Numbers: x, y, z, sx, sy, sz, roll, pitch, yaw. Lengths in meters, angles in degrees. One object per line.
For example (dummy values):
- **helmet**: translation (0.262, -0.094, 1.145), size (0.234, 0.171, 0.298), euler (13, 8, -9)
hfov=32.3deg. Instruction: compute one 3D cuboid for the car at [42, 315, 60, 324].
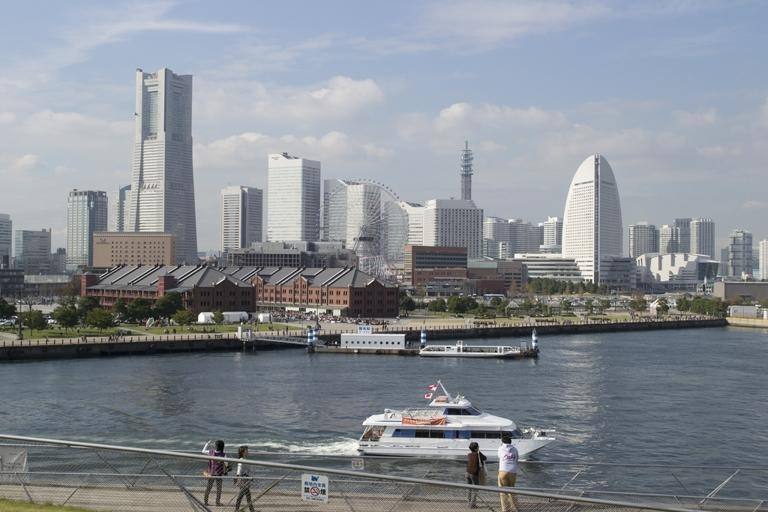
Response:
- **car**: translation (-54.196, 10.260, 214.174), size (2.240, 0.940, 3.096), euler (1, 4, -44)
